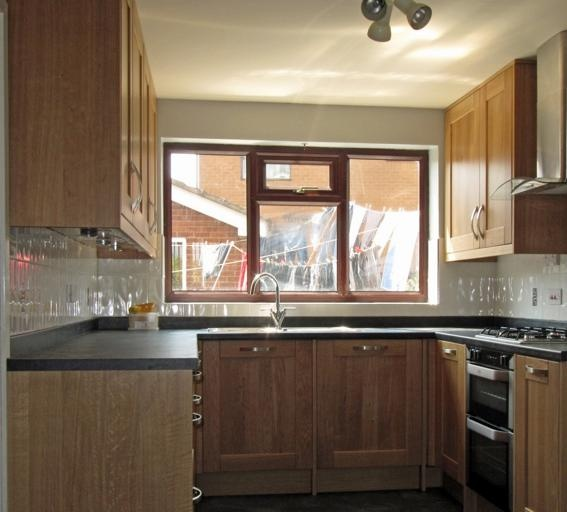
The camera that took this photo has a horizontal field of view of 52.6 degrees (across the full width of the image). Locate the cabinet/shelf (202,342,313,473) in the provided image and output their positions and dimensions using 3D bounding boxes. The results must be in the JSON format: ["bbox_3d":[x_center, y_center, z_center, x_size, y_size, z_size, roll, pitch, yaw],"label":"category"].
[{"bbox_3d":[-0.179,0.813,3.697,0.699,0.918,0.553,-1,16,-11],"label":"cabinet/shelf"}]

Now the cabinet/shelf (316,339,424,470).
[{"bbox_3d":[0.532,0.799,3.744,0.680,0.925,0.538,-4,22,-2],"label":"cabinet/shelf"}]

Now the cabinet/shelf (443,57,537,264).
[{"bbox_3d":[1.409,-0.545,3.763,0.379,1.140,1.106,0,-1,-4],"label":"cabinet/shelf"}]
